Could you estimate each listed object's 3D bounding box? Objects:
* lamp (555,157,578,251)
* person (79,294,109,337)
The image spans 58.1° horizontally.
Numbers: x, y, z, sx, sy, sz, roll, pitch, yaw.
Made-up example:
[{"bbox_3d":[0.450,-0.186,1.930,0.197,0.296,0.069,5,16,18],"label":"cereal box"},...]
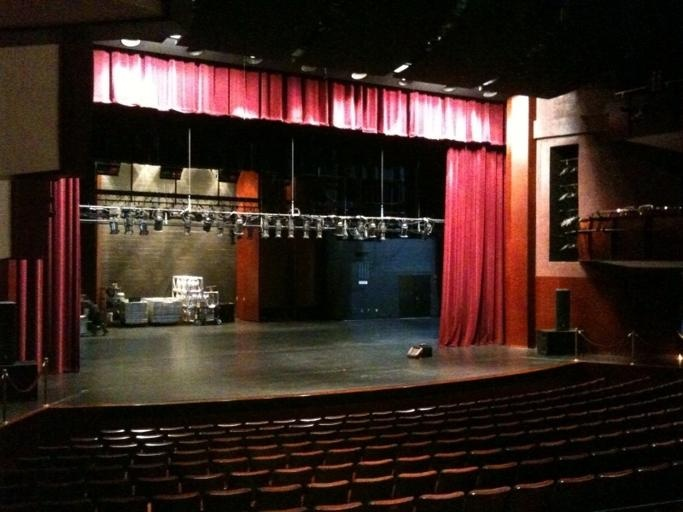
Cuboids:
[{"bbox_3d":[6.067,-1.314,16.513,0.562,2.432,0.330,-1,-1,21],"label":"lamp"},{"bbox_3d":[-8.179,1.918,19.841,1.070,1.076,0.638,-4,11,-23],"label":"person"}]
